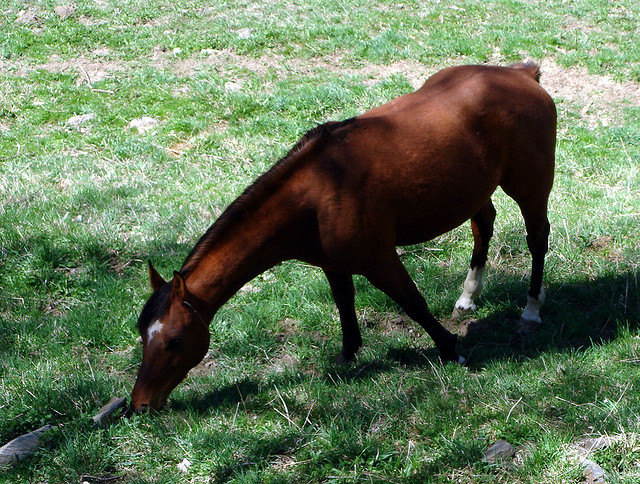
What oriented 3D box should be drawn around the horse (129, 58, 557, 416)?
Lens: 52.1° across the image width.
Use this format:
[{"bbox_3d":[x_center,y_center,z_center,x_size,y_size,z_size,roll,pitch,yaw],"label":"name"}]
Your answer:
[{"bbox_3d":[0.433,-0.140,5.791,3.962,2.437,0.942,-10,24,-19],"label":"horse"}]
